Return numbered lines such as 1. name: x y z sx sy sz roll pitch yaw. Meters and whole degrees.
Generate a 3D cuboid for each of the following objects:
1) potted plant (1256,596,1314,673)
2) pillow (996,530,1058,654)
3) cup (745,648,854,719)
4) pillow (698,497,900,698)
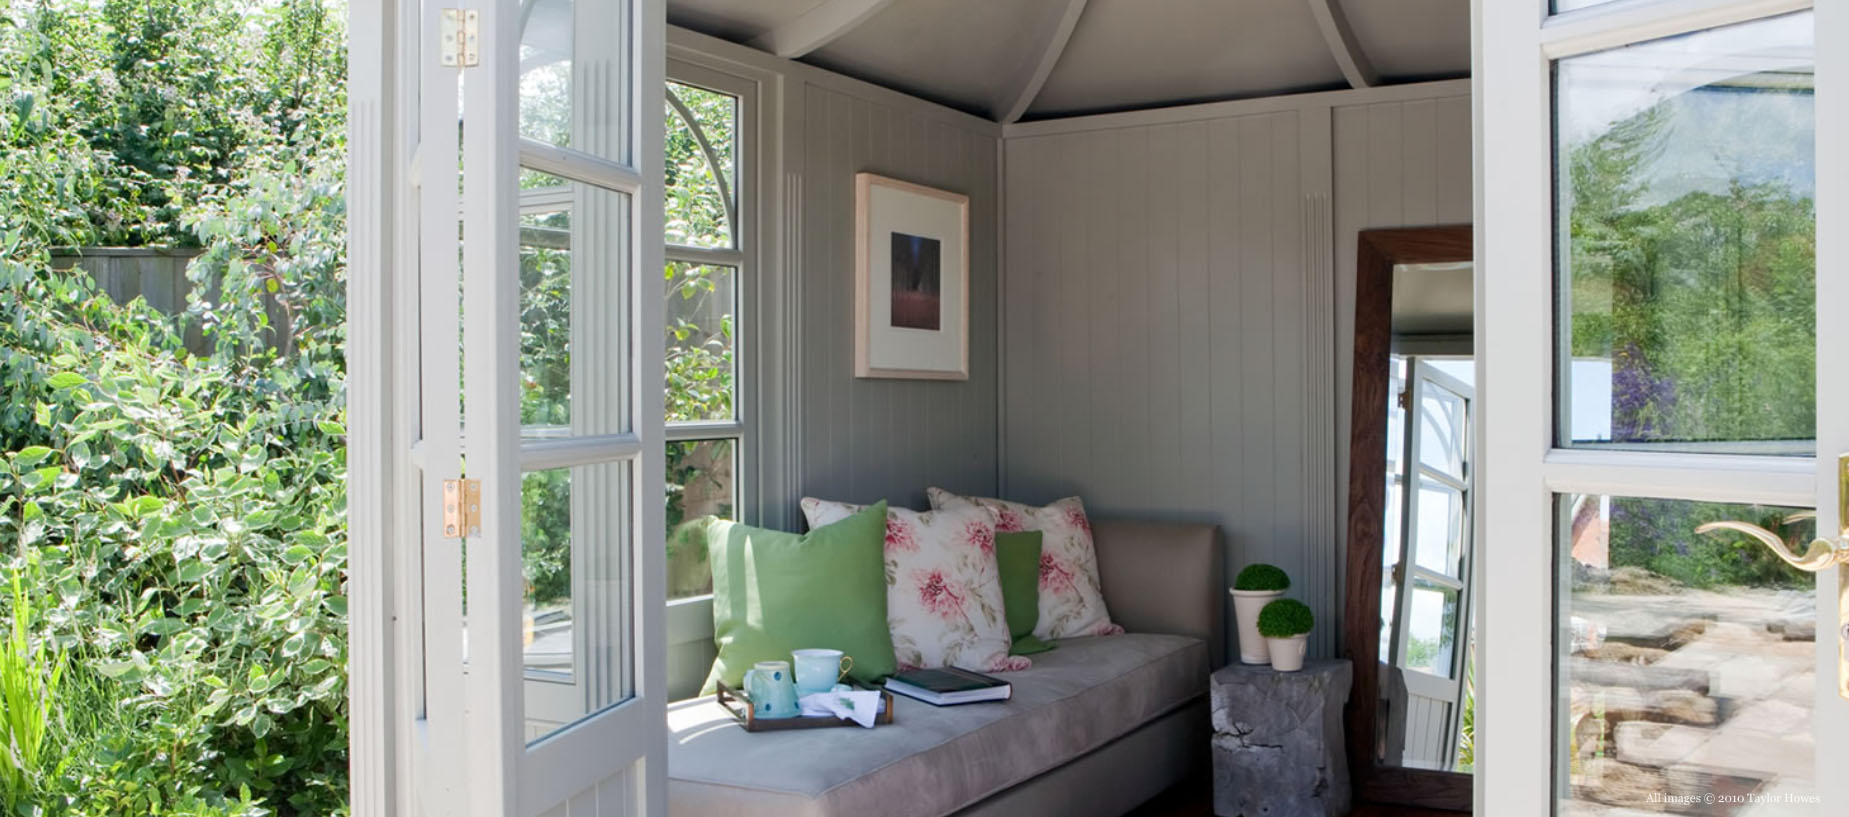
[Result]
1. potted plant: 1.853 1.170 6.004 0.377 0.376 0.357 -2 -6 16
2. pillow: 0.527 0.973 6.036 0.255 0.546 0.559 -5 -10 0
3. cup: -0.548 1.208 5.118 0.394 0.201 0.264 2 -1 -35
4. pillow: -0.591 0.922 5.433 1.055 0.811 0.354 -2 -16 0
